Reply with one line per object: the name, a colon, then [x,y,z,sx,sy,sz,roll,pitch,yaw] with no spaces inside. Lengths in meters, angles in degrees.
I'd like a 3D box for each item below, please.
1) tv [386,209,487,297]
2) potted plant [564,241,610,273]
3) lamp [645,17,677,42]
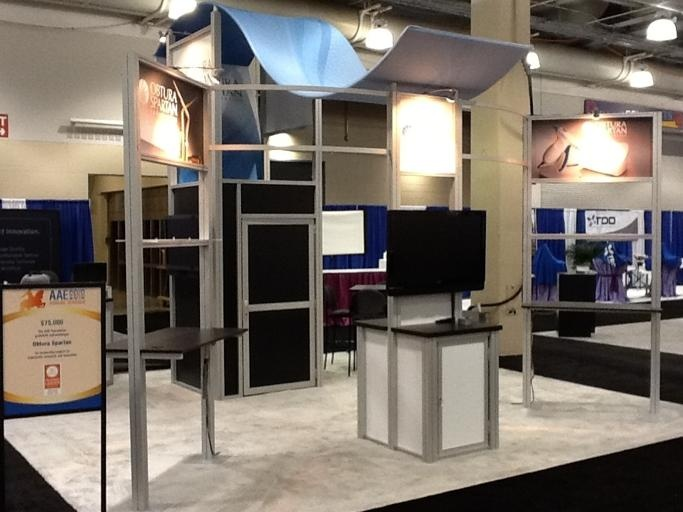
tv: [0.783,-0.036,5.360,0.724,0.551,0.099,-1,4,-22]
potted plant: [3.837,0.042,9.789,0.678,0.706,0.553,0,0,-17]
lamp: [5.056,-3.591,9.920,0.345,0.434,0.691,2,5,34]
